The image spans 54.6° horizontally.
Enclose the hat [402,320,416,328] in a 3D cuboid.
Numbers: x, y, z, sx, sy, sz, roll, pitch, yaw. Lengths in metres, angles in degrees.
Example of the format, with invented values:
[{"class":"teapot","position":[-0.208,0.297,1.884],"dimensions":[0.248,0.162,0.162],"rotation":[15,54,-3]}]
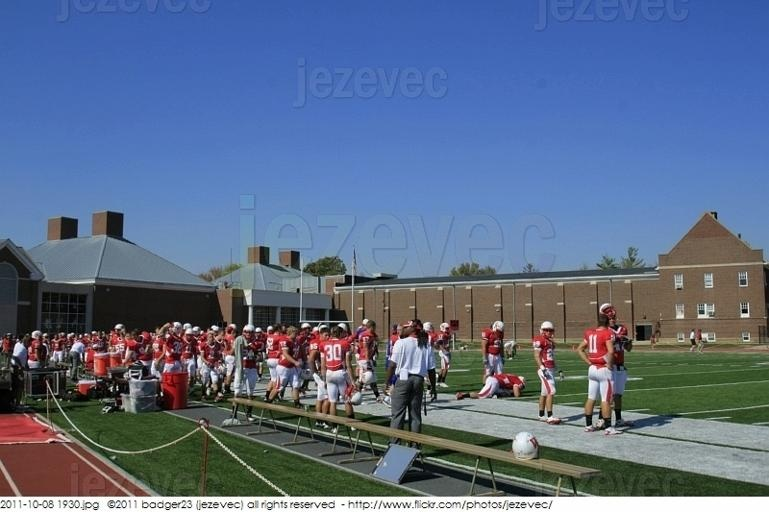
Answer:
[{"class":"hat","position":[0.660,1.760,18.818],"dimensions":[0.329,0.142,0.327],"rotation":[-1,4,-5]}]

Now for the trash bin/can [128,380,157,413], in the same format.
[{"class":"trash bin/can","position":[-7.693,4.395,23.766],"dimensions":[0.925,0.977,0.933],"rotation":[0,-1,-19]}]

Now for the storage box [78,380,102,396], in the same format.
[{"class":"storage box","position":[-10.476,4.620,26.412],"dimensions":[0.463,0.247,0.637],"rotation":[3,2,3]}]

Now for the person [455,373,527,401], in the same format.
[{"class":"person","position":[3.809,4.531,25.918],"dimensions":[1.957,0.704,0.966],"rotation":[-5,2,-18]}]

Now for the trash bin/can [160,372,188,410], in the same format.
[{"class":"trash bin/can","position":[-6.912,4.307,23.984],"dimensions":[0.991,1.055,0.998],"rotation":[-3,-4,3]}]

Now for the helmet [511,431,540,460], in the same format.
[{"class":"helmet","position":[2.948,3.961,15.626],"dimensions":[0.467,0.497,0.606],"rotation":[3,5,18]}]

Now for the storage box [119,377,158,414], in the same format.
[{"class":"storage box","position":[-7.828,4.417,23.811],"dimensions":[0.812,0.855,1.155],"rotation":[7,-7,-42]}]
